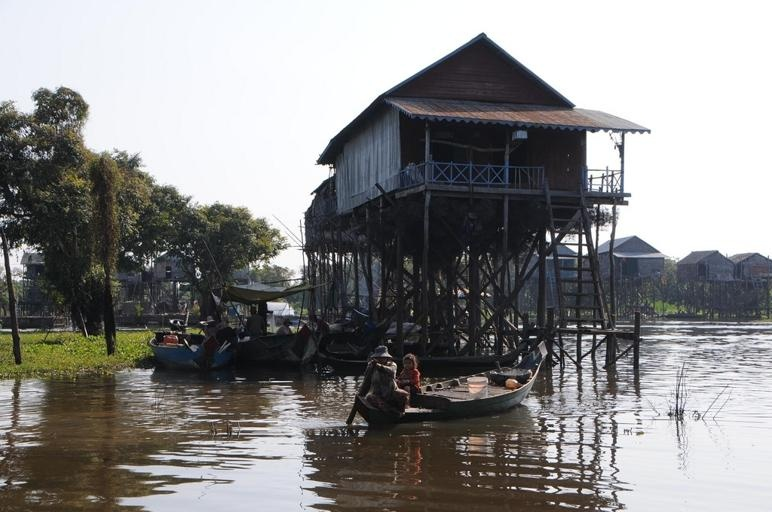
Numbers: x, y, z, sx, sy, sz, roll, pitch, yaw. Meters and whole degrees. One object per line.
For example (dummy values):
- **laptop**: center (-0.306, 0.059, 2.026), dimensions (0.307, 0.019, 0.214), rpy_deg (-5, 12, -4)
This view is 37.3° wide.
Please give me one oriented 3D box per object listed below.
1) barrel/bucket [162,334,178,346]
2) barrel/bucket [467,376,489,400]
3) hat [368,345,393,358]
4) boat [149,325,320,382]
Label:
- **barrel/bucket**: center (-9.708, 3.812, 51.972), dimensions (0.445, 0.402, 0.626), rpy_deg (4, -6, -22)
- **barrel/bucket**: center (3.433, 4.854, 42.278), dimensions (0.629, 0.624, 0.662), rpy_deg (-1, -4, 0)
- **hat**: center (-0.200, 3.382, 41.224), dimensions (0.595, 0.315, 0.613), rpy_deg (5, -13, -23)
- **boat**: center (-6.431, 4.105, 49.927), dimensions (6.865, 2.008, 2.345), rpy_deg (1, -5, -3)
